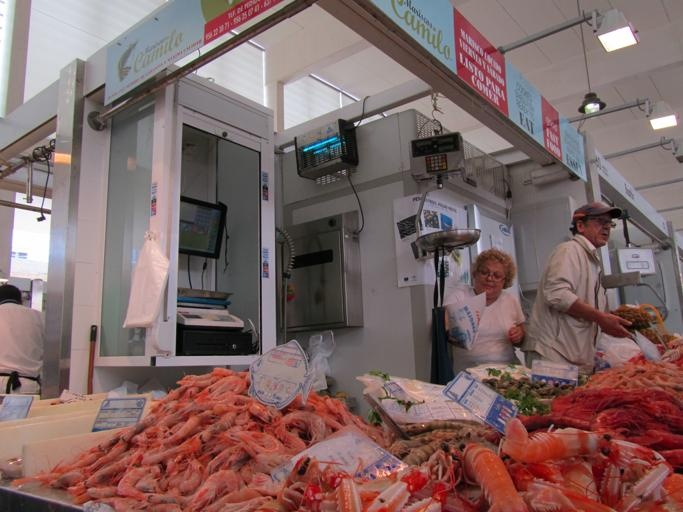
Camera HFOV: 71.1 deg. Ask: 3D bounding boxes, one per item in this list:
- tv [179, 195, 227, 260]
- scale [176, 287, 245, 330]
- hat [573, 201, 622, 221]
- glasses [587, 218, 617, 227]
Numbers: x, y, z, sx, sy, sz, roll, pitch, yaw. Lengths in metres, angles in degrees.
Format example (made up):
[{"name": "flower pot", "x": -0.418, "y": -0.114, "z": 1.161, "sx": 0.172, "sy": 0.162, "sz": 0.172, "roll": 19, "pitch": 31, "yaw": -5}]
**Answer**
[{"name": "tv", "x": -1.185, "y": -0.238, "z": 3.896, "sx": 0.058, "sy": 0.464, "sz": 0.604, "roll": 7, "pitch": -2, "yaw": 23}, {"name": "scale", "x": -0.959, "y": 0.375, "z": 3.371, "sx": 0.331, "sy": 0.182, "sz": 0.337, "roll": 9, "pitch": -4, "yaw": -37}, {"name": "hat", "x": 1.835, "y": -0.333, "z": 3.518, "sx": 0.187, "sy": 0.105, "sz": 0.312, "roll": 4, "pitch": -8, "yaw": -26}, {"name": "glasses", "x": 1.907, "y": -0.252, "z": 3.532, "sx": 0.150, "sy": 0.044, "sz": 0.152, "roll": 9, "pitch": -6, "yaw": -31}]
